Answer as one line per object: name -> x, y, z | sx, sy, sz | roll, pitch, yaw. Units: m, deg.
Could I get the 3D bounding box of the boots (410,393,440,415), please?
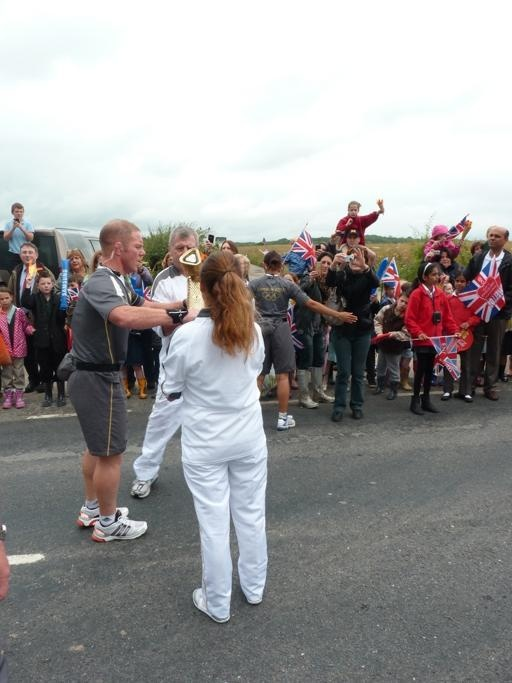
boots -> 2.002, 0.743, 7.210 | 0.322, 0.185, 0.457 | 5, 8, 34

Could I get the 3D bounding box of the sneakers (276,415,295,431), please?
sneakers -> 0.316, 0.838, 6.318 | 0.104, 0.107, 0.246 | 4, 15, 20

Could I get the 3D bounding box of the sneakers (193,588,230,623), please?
sneakers -> -0.218, 1.245, 2.931 | 0.086, 0.099, 0.248 | -16, 27, -32

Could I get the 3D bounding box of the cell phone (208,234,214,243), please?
cell phone -> -0.605, -1.349, 7.980 | 0.059, 0.110, 0.253 | -1, 7, -11

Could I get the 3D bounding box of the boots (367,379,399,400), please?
boots -> 1.832, 0.677, 8.448 | 0.344, 0.207, 0.282 | -3, -7, 43

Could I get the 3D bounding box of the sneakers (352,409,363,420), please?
sneakers -> 1.150, 0.825, 6.852 | 0.060, 0.107, 0.162 | -8, -21, 14

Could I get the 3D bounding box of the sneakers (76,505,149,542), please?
sneakers -> -0.858, 1.140, 3.746 | 0.244, 0.095, 0.292 | -1, 5, -35

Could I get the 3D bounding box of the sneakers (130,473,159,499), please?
sneakers -> -0.815, 1.058, 4.432 | 0.168, 0.142, 0.369 | 1, -4, 3

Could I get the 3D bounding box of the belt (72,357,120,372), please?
belt -> -0.921, 0.144, 3.502 | 0.265, 0.072, 0.116 | -2, 7, -15

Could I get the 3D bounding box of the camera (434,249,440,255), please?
camera -> 2.846, -1.395, 9.470 | 0.068, 0.082, 0.028 | 9, -5, 15

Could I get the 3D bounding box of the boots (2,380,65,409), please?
boots -> -2.811, 0.650, 7.594 | 0.782, 0.253, 0.681 | -2, 7, -16

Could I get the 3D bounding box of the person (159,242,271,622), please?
person -> -0.176, 0.446, 2.834 | 0.500, 1.722, 0.346 | -1, 8, -11

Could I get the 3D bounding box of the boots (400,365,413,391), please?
boots -> 2.203, 0.456, 8.871 | 0.177, 0.492, 0.406 | 2, 8, 13
